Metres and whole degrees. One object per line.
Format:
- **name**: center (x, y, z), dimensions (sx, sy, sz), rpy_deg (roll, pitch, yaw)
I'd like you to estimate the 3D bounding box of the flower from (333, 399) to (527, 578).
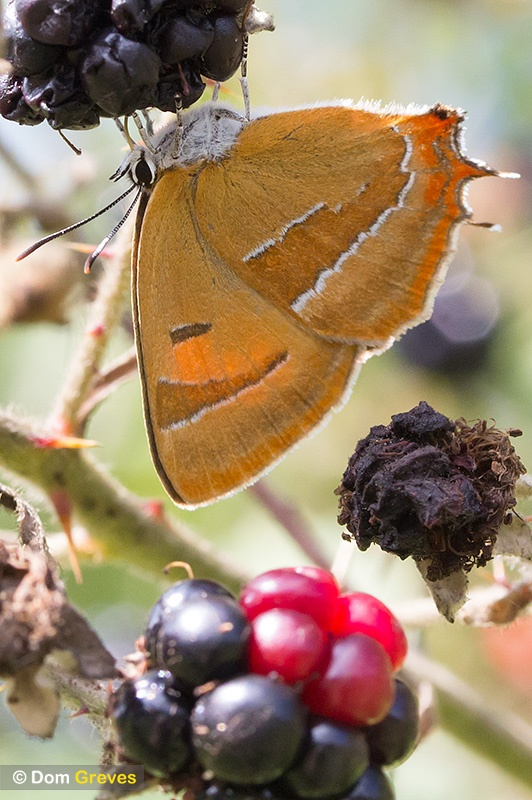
- **flower**: center (0.233, 0.116, 1.315), dimensions (0.275, 0.272, 0.136), rpy_deg (29, -43, -3)
